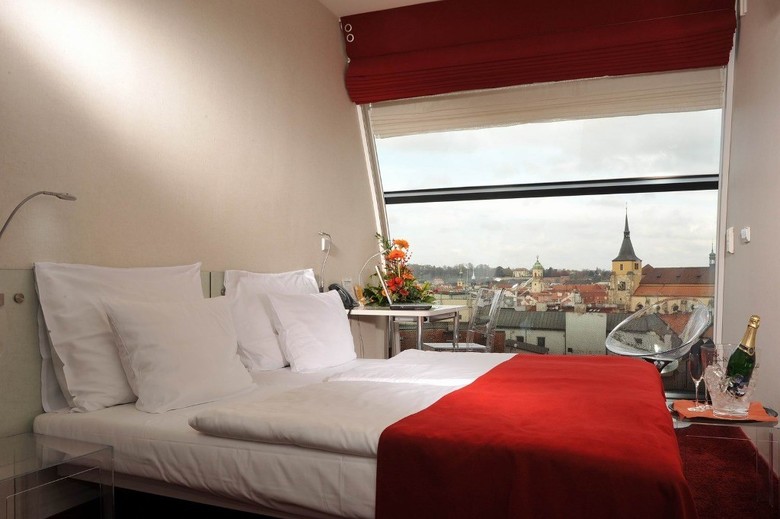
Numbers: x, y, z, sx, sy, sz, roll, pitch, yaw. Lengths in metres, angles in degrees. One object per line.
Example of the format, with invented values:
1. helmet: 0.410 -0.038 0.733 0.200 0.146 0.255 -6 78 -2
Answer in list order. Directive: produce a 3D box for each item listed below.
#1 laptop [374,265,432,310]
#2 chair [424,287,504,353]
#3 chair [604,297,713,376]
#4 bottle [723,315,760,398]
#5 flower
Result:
1. laptop: 0.130 0.271 4.972 0.449 0.312 0.483 0 -1 12
2. chair: 0.765 0.889 5.471 0.882 1.081 0.769 -3 0 6
3. chair: 2.693 0.838 4.916 1.035 0.699 0.863 -8 15 14
4. bottle: 1.815 0.492 2.538 0.155 0.415 0.080 -3 4 -14
5. flower: 0.080 0.135 5.259 0.592 0.574 0.385 2 17 26
